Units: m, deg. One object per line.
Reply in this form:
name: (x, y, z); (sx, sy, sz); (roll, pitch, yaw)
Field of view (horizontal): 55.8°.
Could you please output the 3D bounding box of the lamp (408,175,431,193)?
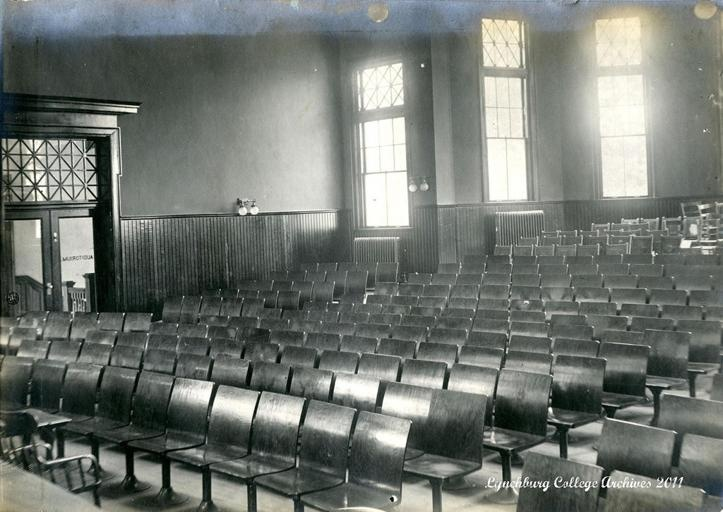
lamp: (1.357, -1.706, 16.023); (0.379, 0.317, 0.065); (1, -1, 38)
